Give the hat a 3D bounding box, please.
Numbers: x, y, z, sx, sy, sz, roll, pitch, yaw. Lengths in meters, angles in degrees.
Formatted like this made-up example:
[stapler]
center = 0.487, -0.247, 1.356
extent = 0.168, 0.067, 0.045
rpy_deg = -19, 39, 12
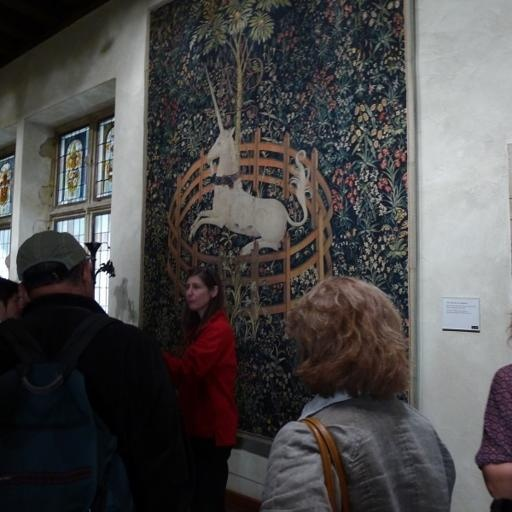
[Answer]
[hat]
center = -0.656, -0.019, 1.672
extent = 0.118, 0.119, 0.197
rpy_deg = -6, 16, 12
